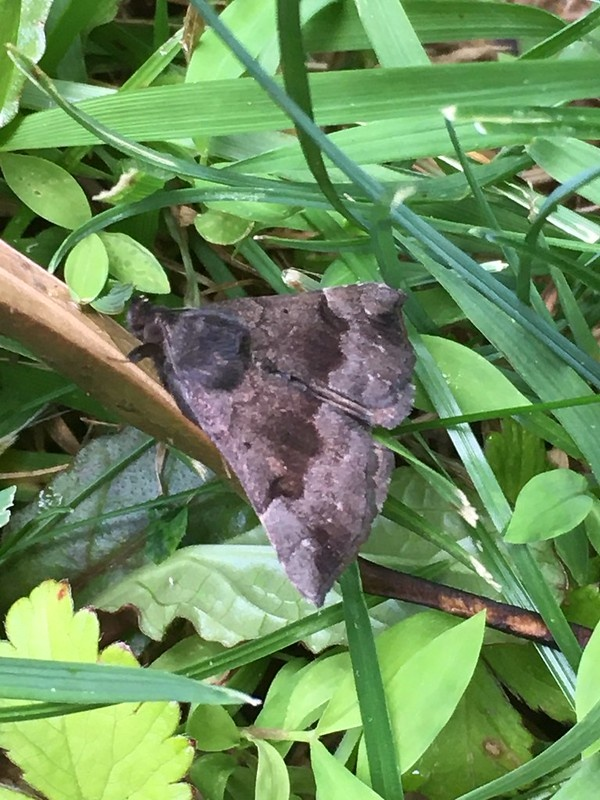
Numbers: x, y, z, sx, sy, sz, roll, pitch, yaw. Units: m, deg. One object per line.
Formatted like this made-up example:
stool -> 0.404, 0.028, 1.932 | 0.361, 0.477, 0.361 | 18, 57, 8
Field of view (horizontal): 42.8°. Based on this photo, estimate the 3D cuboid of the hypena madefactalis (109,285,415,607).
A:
hypena madefactalis -> -0.021, 0.035, 0.630 | 0.237, 0.058, 0.254 | -4, 82, 0
